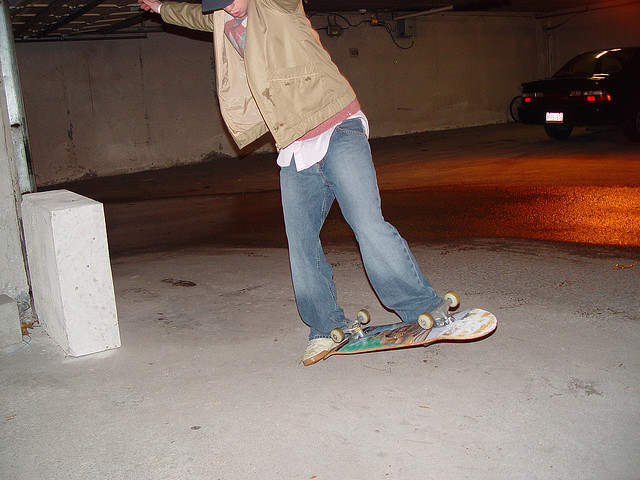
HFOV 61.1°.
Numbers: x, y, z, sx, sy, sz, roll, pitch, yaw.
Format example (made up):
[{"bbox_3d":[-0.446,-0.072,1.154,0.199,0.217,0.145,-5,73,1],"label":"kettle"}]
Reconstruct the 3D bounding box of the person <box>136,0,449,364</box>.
[{"bbox_3d":[0.006,-0.361,3.306,1.215,2.163,0.460,-5,11,11],"label":"person"}]
